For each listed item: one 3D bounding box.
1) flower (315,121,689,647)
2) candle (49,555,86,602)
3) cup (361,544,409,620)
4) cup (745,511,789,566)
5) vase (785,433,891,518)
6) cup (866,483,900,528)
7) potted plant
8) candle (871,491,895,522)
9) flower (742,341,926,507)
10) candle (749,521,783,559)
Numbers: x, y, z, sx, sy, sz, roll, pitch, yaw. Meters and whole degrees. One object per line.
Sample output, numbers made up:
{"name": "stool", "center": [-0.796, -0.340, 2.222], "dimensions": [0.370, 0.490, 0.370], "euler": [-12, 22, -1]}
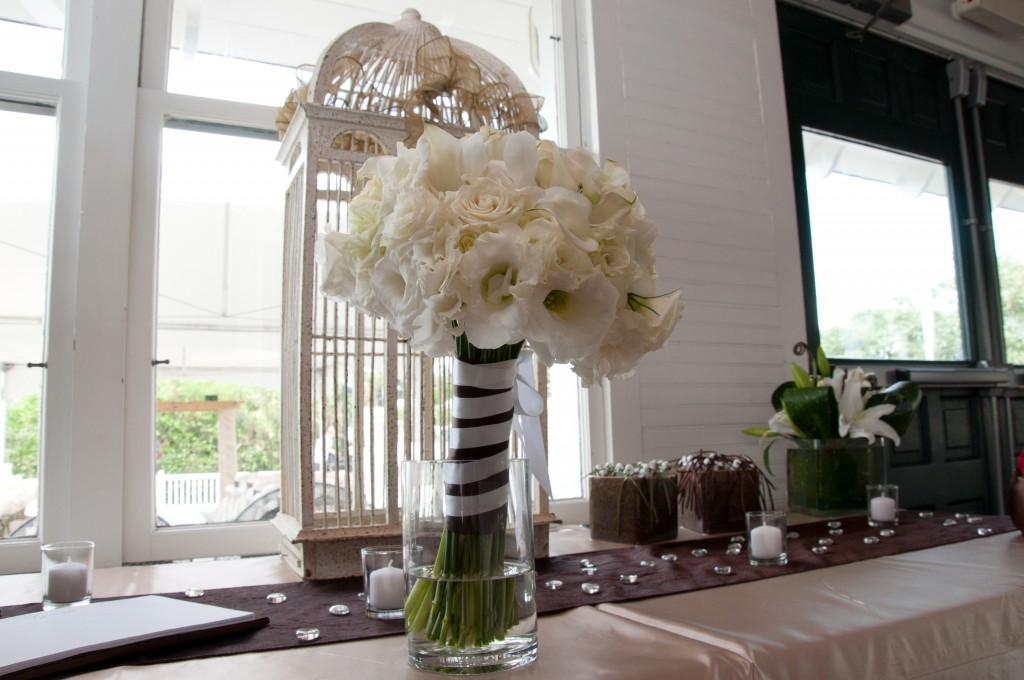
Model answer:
{"name": "flower", "center": [-0.036, 0.073, 1.335], "dimensions": [0.646, 0.900, 0.249], "euler": [2, 5, 17]}
{"name": "candle", "center": [-0.902, 0.504, 1.563], "dimensions": [0.070, 0.083, 0.072], "euler": [0, -4, 4]}
{"name": "cup", "center": [-0.251, 0.484, 1.483], "dimensions": [0.121, 0.143, 0.125], "euler": [-1, -7, 0]}
{"name": "cup", "center": [0.594, 0.463, 1.738], "dimensions": [0.105, 0.127, 0.109], "euler": [0, -8, 0]}
{"name": "vase", "center": [0.984, 0.397, 2.371], "dimensions": [0.299, 0.314, 0.226], "euler": [1, -9, -13]}
{"name": "cup", "center": [1.073, 0.486, 2.157], "dimensions": [0.097, 0.115, 0.101], "euler": [0, -7, 0]}
{"name": "potted plant", "center": [0.463, 0.397, 2.083], "dimensions": [0.373, 0.170, 0.268], "euler": [-2, 0, -16]}
{"name": "candle", "center": [1.052, 0.478, 2.109], "dimensions": [0.065, 0.076, 0.066], "euler": [2, -8, -27]}
{"name": "flower", "center": [1.037, 0.303, 2.489], "dimensions": [0.522, 0.544, 0.514], "euler": [6, -8, -38]}
{"name": "candle", "center": [0.591, 0.468, 1.732], "dimensions": [0.071, 0.073, 0.071], "euler": [3, -10, -28]}
